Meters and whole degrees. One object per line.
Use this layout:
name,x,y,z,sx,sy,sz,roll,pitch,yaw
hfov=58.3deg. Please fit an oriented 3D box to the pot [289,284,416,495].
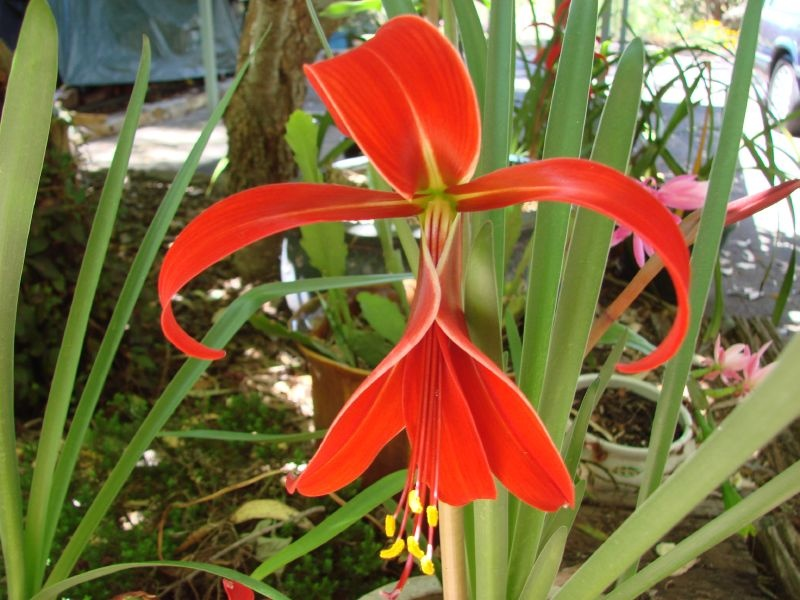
pot,-0.073,0.183,1.562,0.305,0.327,0.370,3,16,3

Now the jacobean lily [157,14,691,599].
jacobean lily,0.009,0.106,0.707,0.451,0.714,0.184,6,19,5
